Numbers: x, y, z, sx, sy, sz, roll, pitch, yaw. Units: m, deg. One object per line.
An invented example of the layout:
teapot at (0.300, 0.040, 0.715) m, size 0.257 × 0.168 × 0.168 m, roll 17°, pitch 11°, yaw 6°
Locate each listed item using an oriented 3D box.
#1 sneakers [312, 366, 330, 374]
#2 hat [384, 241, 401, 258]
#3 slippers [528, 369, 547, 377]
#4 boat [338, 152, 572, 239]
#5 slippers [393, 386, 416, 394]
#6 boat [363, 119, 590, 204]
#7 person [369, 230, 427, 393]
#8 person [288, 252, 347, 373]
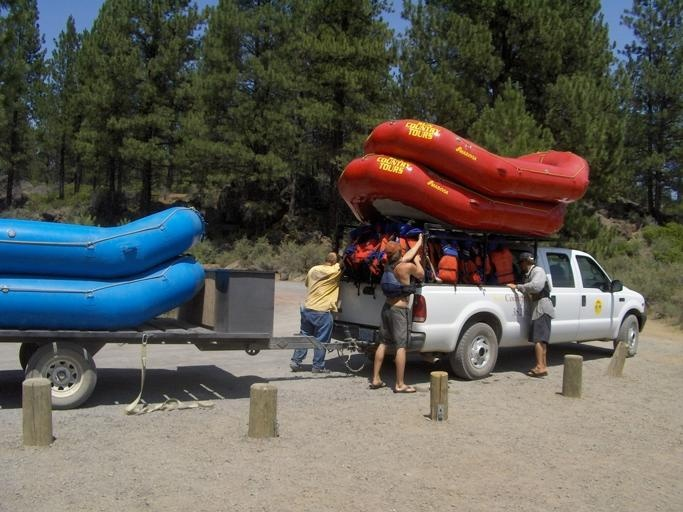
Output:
sneakers at (-0.377, 2.139, 12.872) m, size 0.379 × 0.189 × 0.140 m, roll 2°, pitch 0°, yaw -20°
hat at (0.855, -0.116, 11.625) m, size 0.186 × 0.224 × 0.273 m, roll 2°, pitch 29°, yaw 31°
slippers at (3.706, 2.215, 12.985) m, size 0.257 × 0.109 × 0.151 m, roll 3°, pitch -3°, yaw -8°
boat at (1.849, -0.978, 12.509) m, size 2.444 × 0.847 × 1.986 m, roll 9°, pitch -5°, yaw -20°
slippers at (1.074, 2.273, 11.734) m, size 0.270 × 0.113 × 0.160 m, roll -3°, pitch 2°, yaw -8°
boat at (2.685, -1.667, 12.786) m, size 2.856 × 0.981 × 2.115 m, roll 6°, pitch -1°, yaw -20°
person at (0.939, 1.031, 11.745) m, size 0.872 × 2.600 × 0.552 m, roll 2°, pitch 8°, yaw 2°
person at (-0.456, 1.101, 12.719) m, size 0.857 × 2.288 × 1.095 m, roll 1°, pitch 8°, yaw -1°
